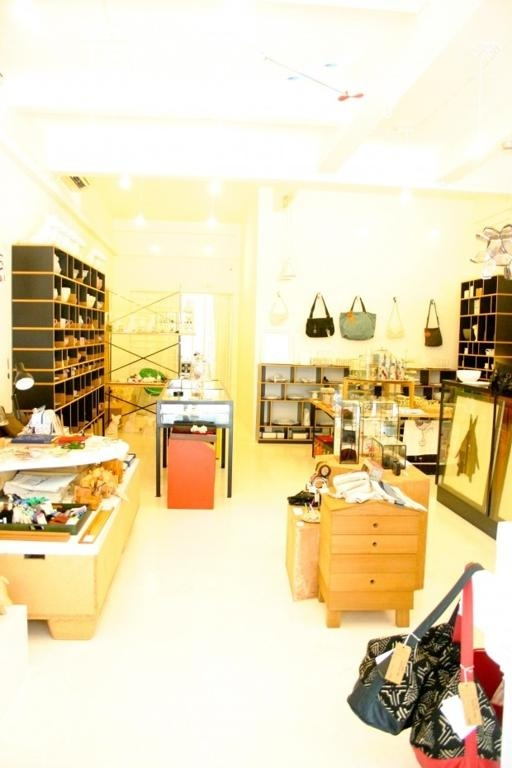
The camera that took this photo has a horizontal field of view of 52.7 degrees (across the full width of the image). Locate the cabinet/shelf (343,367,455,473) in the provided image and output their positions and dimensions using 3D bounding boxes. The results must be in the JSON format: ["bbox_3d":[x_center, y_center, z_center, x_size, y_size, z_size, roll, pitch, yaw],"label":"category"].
[{"bbox_3d":[2.070,0.312,7.500,1.526,1.670,1.655,-1,16,0],"label":"cabinet/shelf"}]

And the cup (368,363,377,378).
[{"bbox_3d":[1.459,-0.158,6.414,0.115,0.202,0.058,3,3,20],"label":"cup"}]

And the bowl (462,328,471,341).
[{"bbox_3d":[3.435,-0.804,8.406,0.152,0.190,0.163,0,9,0],"label":"bowl"}]

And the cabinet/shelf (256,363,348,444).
[{"bbox_3d":[0.652,0.269,7.821,1.127,1.215,0.316,0,1,-4],"label":"cabinet/shelf"}]

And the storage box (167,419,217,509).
[{"bbox_3d":[-0.666,0.727,5.179,0.503,0.926,0.908,0,1,-2],"label":"storage box"}]

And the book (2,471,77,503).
[{"bbox_3d":[-1.464,0.684,3.490,0.244,0.104,0.264,2,7,5],"label":"book"}]

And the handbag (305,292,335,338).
[{"bbox_3d":[1.064,-1.110,8.411,0.481,0.735,0.309,2,2,6],"label":"handbag"}]

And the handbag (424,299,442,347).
[{"bbox_3d":[2.969,-1.011,8.610,0.330,0.801,0.224,1,2,-4],"label":"handbag"}]

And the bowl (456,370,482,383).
[{"bbox_3d":[2.175,-0.074,5.262,0.173,0.110,0.185,-1,3,0],"label":"bowl"}]

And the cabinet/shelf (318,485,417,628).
[{"bbox_3d":[0.637,0.959,3.040,0.515,0.748,0.494,0,8,-6],"label":"cabinet/shelf"}]

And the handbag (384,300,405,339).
[{"bbox_3d":[2.306,-1.078,8.524,0.300,0.719,0.224,2,2,3],"label":"handbag"}]

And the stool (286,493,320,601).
[{"bbox_3d":[0.302,1.030,3.217,0.247,0.538,0.535,0,4,-4],"label":"stool"}]

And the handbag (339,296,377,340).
[{"bbox_3d":[1.641,-1.065,8.352,0.617,0.907,0.250,0,-5,0],"label":"handbag"}]
